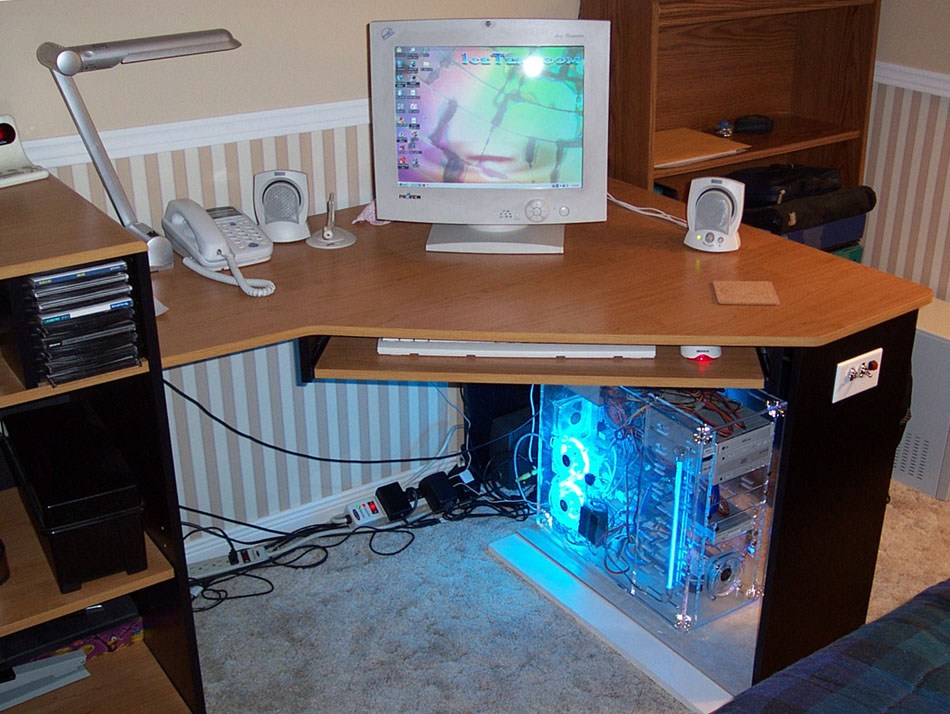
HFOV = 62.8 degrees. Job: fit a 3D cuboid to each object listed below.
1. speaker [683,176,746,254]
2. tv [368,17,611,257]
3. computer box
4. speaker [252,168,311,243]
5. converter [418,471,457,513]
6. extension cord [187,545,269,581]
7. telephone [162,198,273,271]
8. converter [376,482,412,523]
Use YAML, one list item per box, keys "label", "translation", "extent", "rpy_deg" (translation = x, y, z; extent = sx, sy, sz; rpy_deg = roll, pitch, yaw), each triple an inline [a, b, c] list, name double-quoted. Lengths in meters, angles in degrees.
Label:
- label: "speaker"
  translation: [0.618, -0.358, 2.010]
  extent: [0.177, 0.225, 0.131]
  rpy_deg: [12, 26, 32]
- label: "tv"
  translation: [0.038, -0.563, 1.977]
  extent: [0.648, 0.603, 0.230]
  rpy_deg: [1, 27, -3]
- label: "computer box"
  translation: [0.511, 0.376, 2.300]
  extent: [0.373, 0.583, 0.634]
  rpy_deg: [-9, 16, -31]
- label: "speaker"
  translation: [-0.511, -0.398, 2.073]
  extent: [0.204, 0.245, 0.175]
  rpy_deg: [-5, 14, -14]
- label: "converter"
  translation: [-0.124, 0.467, 2.623]
  extent: [0.112, 0.070, 0.143]
  rpy_deg: [-15, 56, -25]
- label: "extension cord"
  translation: [-0.752, 0.630, 2.376]
  extent: [0.312, 0.071, 0.078]
  rpy_deg: [-10, 60, -16]
- label: "telephone"
  translation: [-0.650, -0.313, 1.954]
  extent: [0.191, 0.092, 0.255]
  rpy_deg: [-24, 53, -38]
- label: "converter"
  translation: [-0.270, 0.495, 2.578]
  extent: [0.112, 0.025, 0.109]
  rpy_deg: [-7, 46, -40]
